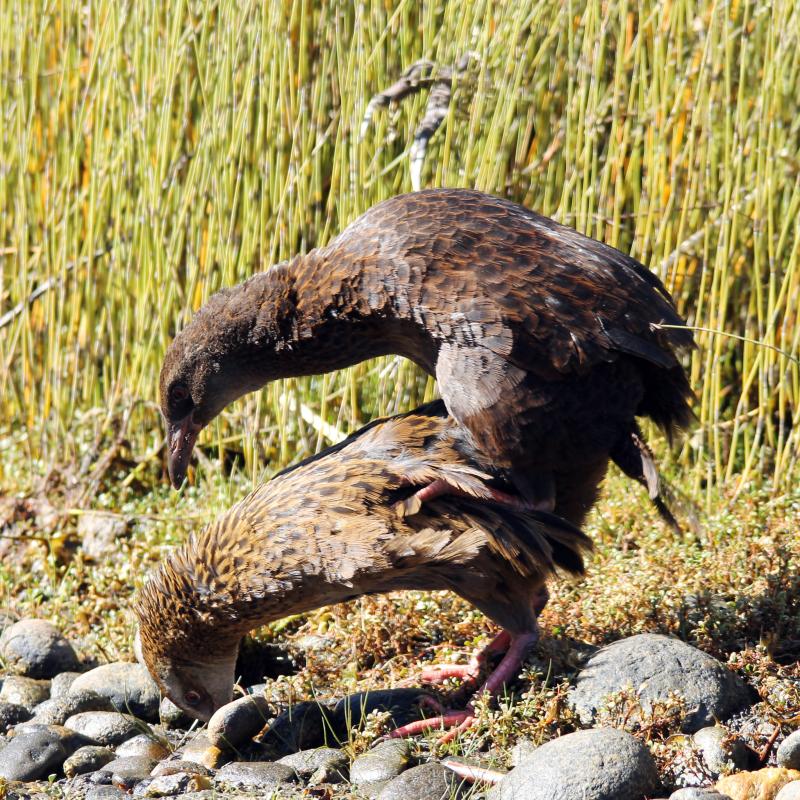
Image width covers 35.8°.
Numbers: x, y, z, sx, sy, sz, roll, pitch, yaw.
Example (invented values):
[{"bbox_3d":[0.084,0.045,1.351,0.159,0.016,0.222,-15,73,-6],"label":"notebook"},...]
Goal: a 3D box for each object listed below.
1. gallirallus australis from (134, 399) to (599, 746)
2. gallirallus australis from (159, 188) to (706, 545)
[{"bbox_3d":[-0.071,0.551,3.674,0.781,0.827,1.446,5,17,34],"label":"gallirallus australis"},{"bbox_3d":[0.018,-0.113,3.861,1.841,0.992,0.876,1,1,-2],"label":"gallirallus australis"}]
